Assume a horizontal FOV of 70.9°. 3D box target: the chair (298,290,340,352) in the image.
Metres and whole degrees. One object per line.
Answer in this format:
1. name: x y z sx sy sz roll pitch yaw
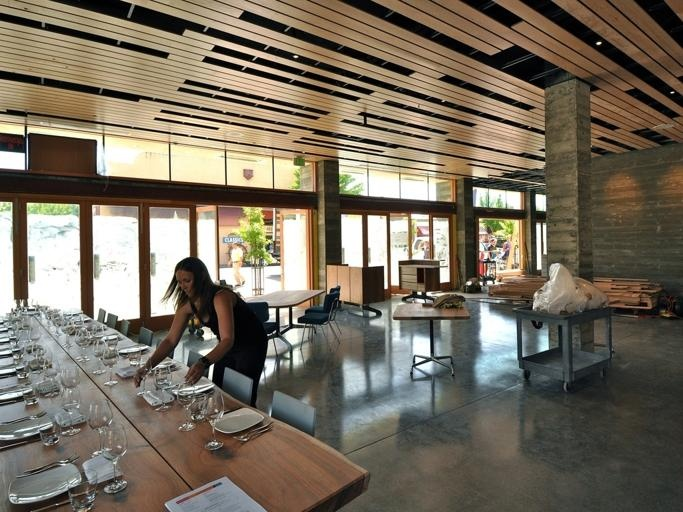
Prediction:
1. chair: -0.332 1.152 9.069 1.067 1.245 1.064 1 0 8

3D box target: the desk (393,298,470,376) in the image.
1. desk: 1.308 1.184 7.163 1.298 0.856 1.130 0 5 6

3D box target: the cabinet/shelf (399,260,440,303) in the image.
1. cabinet/shelf: 2.145 0.641 13.115 0.550 0.910 1.416 1 -2 -40

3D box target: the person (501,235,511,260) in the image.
1. person: 6.706 -0.324 19.413 0.513 0.617 0.218 -6 2 -41

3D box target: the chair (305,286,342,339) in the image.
1. chair: -0.428 1.132 8.820 0.790 0.752 0.732 -5 4 -8

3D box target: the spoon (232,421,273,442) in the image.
1. spoon: -0.628 1.285 3.520 0.083 0.048 0.360 8 10 44
